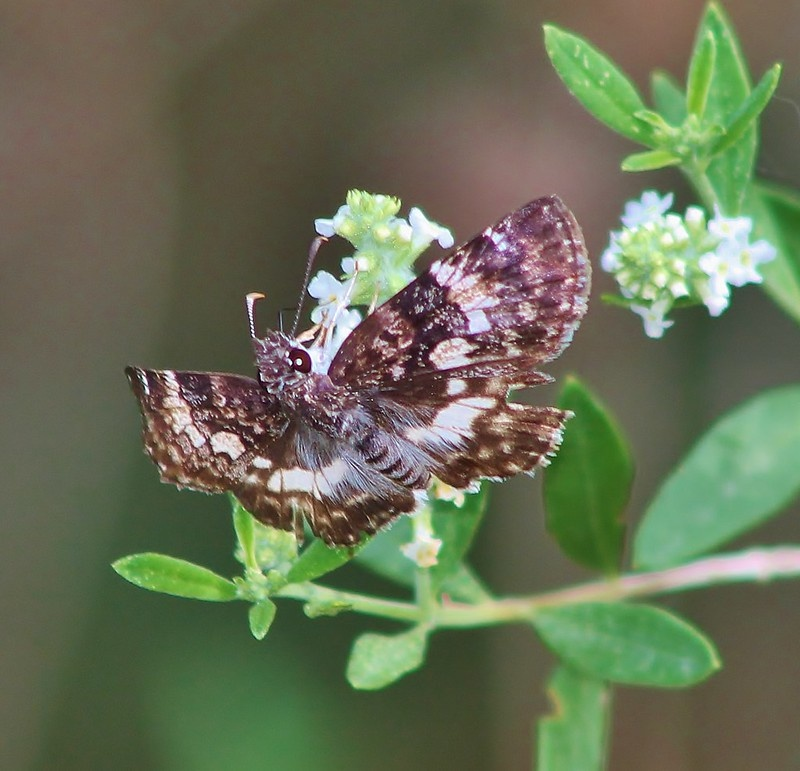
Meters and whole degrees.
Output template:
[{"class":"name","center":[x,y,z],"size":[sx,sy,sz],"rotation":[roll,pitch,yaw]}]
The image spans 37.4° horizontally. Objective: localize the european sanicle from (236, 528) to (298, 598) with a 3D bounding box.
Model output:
[{"class":"european sanicle","center":[-0.285,0.379,2.571],"size":[0.087,0.171,0.106],"rotation":[-14,25,-26]}]
